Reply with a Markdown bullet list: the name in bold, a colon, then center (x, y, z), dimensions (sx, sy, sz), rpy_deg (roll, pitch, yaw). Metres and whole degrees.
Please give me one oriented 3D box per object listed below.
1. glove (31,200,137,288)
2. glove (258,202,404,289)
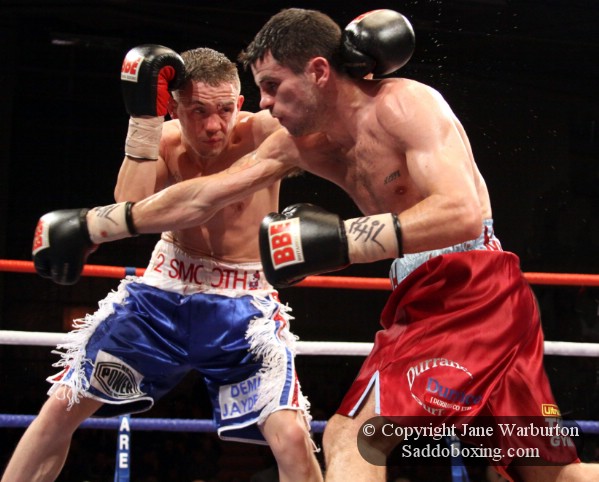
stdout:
- **glove**: center (-0.773, -0.014, 2.305), dimensions (0.320, 0.209, 0.456), rpy_deg (-3, -14, -46)
- **glove**: center (0.108, -0.002, 1.945), dimensions (0.511, 0.288, 0.179), rpy_deg (-3, -31, 34)
